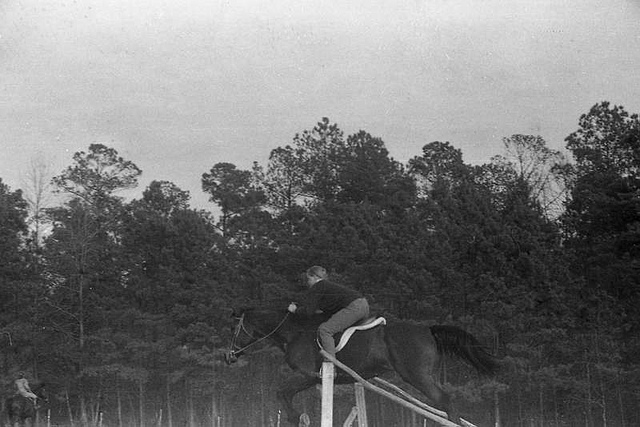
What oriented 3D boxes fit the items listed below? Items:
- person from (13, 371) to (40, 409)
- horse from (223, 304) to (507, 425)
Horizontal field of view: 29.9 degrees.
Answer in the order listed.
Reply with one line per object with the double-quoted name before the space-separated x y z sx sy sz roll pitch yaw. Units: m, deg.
"person" -7.697 4.699 31.402 0.571 0.941 0.347 -4 -43 -31
"horse" 1.019 3.869 29.344 8.178 3.904 1.626 0 -33 -3
